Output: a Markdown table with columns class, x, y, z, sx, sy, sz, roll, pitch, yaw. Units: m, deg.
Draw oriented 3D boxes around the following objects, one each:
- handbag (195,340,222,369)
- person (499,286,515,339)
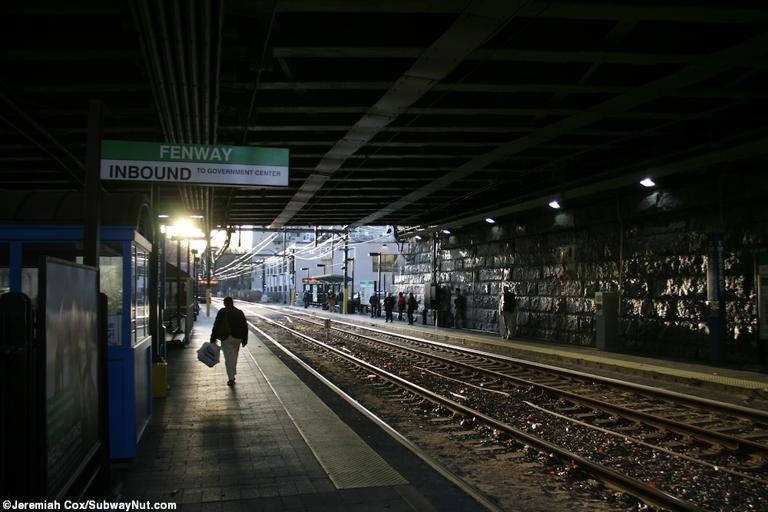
| class | x | y | z | sx | sy | sz | roll | pitch | yaw |
| --- | --- | --- | --- | --- | --- | --- | --- | --- | --- |
| handbag | -3.526 | 2.054 | 11.778 | 0.510 | 0.510 | 0.234 | 27 | -9 | 8 |
| person | 4.775 | 2.144 | 21.851 | 0.544 | 1.951 | 0.605 | 0 | -4 | 0 |
